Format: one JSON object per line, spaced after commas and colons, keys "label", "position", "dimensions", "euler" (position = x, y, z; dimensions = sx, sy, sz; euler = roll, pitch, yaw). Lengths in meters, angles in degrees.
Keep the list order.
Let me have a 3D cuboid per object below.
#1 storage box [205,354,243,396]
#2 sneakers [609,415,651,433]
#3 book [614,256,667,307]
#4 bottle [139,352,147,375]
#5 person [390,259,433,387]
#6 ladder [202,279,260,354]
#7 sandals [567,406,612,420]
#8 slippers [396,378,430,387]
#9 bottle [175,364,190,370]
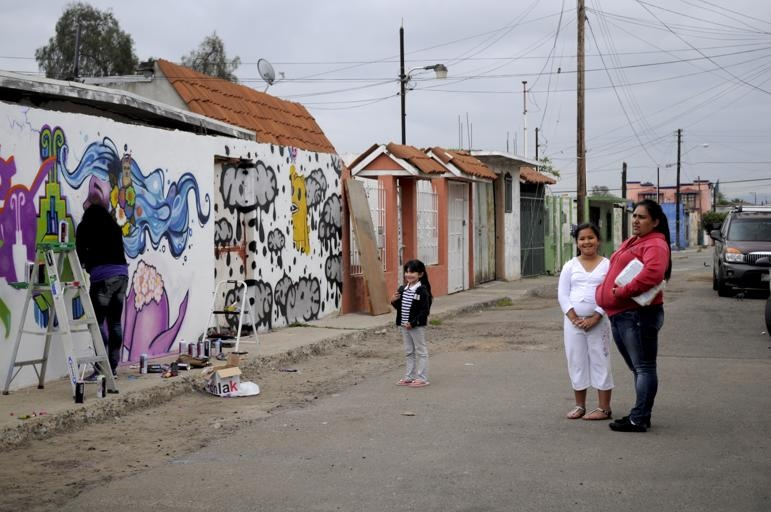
{"label": "storage box", "position": [-2.194, 1.593, 10.681], "dimensions": [0.390, 0.555, 0.485], "euler": [-1, 24, -16]}
{"label": "sneakers", "position": [2.741, 1.913, 8.662], "dimensions": [0.276, 0.116, 0.218], "euler": [8, -6, 7]}
{"label": "book", "position": [2.843, 0.307, 8.653], "dimensions": [0.500, 0.507, 0.176], "euler": [46, 14, 25]}
{"label": "bottle", "position": [-3.441, 1.544, 10.954], "dimensions": [0.108, 0.308, 0.335], "euler": [-3, 1, -18]}
{"label": "person", "position": [0.370, 0.945, 10.864], "dimensions": [0.531, 1.612, 0.453], "euler": [-3, 1, 15]}
{"label": "ladder", "position": [-2.609, 1.113, 13.301], "dimensions": [0.927, 1.427, 0.896], "euler": [-15, -8, 26]}
{"label": "sandals", "position": [2.399, 1.877, 9.082], "dimensions": [0.302, 0.103, 0.235], "euler": [7, -9, -7]}
{"label": "slippers", "position": [0.387, 1.781, 10.761], "dimensions": [0.346, 0.143, 0.163], "euler": [7, -10, -20]}
{"label": "bottle", "position": [-2.960, 1.634, 11.318], "dimensions": [0.178, 0.100, 0.186], "euler": [-4, 1, 0]}
